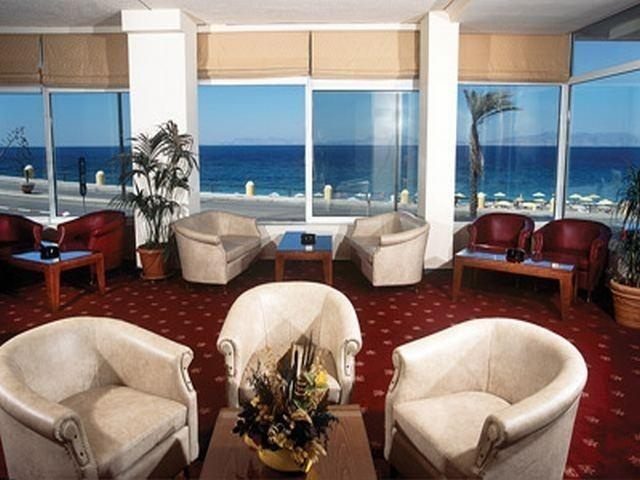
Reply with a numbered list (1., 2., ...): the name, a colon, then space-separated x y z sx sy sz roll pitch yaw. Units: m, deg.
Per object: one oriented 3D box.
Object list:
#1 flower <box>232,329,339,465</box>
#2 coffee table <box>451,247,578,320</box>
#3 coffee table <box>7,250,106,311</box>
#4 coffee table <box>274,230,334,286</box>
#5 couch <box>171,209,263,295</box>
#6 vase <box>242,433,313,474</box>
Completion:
1. flower: -0.199 0.867 2.574 0.382 0.522 0.485 -12 27 -31
2. coffee table: 2.313 0.446 5.643 1.275 0.575 0.726 10 18 34
3. coffee table: -3.168 0.415 5.738 0.806 0.540 0.732 8 16 28
4. coffee table: -0.203 0.126 6.114 0.602 0.438 0.940 0 13 -1
5. couch: -1.377 -0.196 6.276 0.873 0.815 1.722 2 13 7
6. vase: -0.217 1.097 2.354 0.261 0.100 0.205 24 -2 -21
